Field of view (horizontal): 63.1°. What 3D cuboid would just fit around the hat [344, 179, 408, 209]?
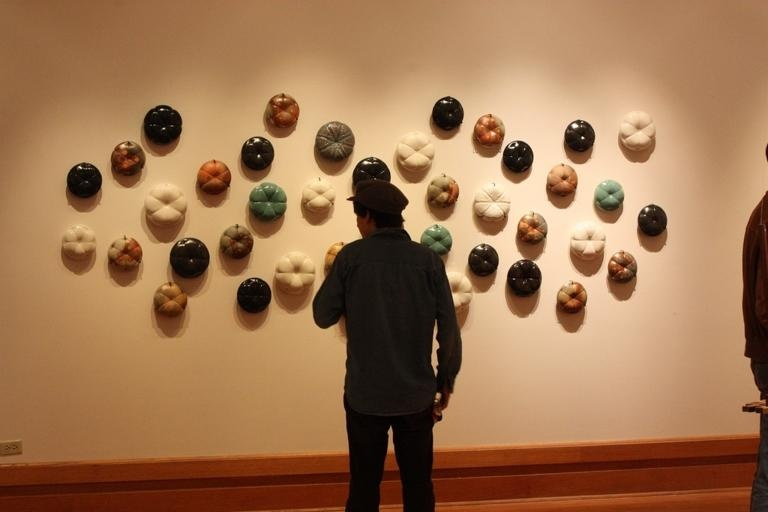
[{"bbox_3d":[-0.049,-0.403,3.972,0.427,0.199,0.347,10,11,24],"label":"hat"}]
